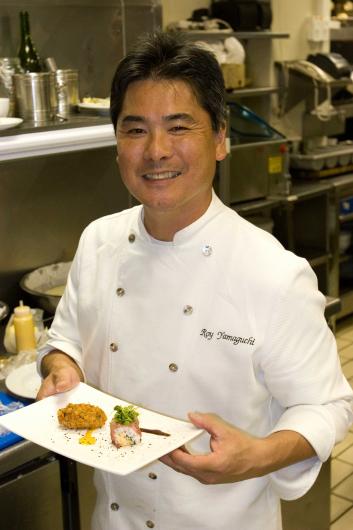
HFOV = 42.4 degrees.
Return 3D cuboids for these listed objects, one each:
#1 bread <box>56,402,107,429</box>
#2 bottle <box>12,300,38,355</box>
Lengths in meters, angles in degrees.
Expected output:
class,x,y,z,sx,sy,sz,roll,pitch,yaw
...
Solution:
class,x,y,z,sx,sy,sz,roll,pitch,yaw
bread,-0.176,0.282,0.846,0.081,0.034,0.054,-5,13,-35
bottle,-0.568,0.225,1.693,0.077,0.196,0.168,-8,12,-19
